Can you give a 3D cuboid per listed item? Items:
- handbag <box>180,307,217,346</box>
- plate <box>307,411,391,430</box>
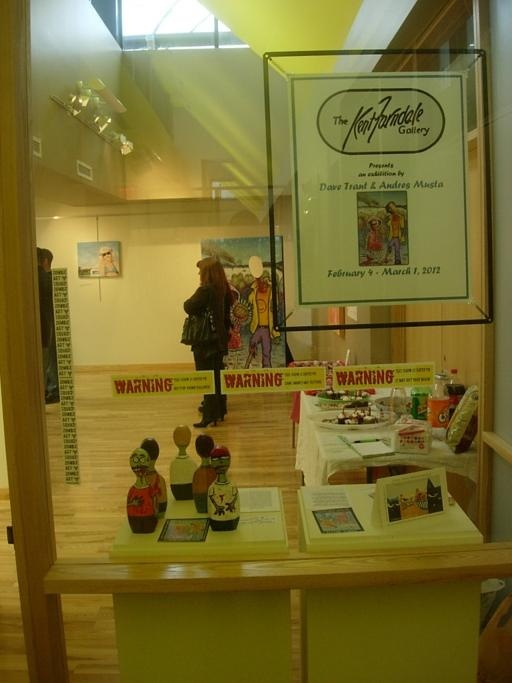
[{"bbox_3d":[-0.139,-0.040,1.353,0.088,0.101,0.042,-1,-2,20],"label":"handbag"},{"bbox_3d":[0.260,0.212,1.452,0.133,0.021,0.088,-2,5,1],"label":"plate"}]
